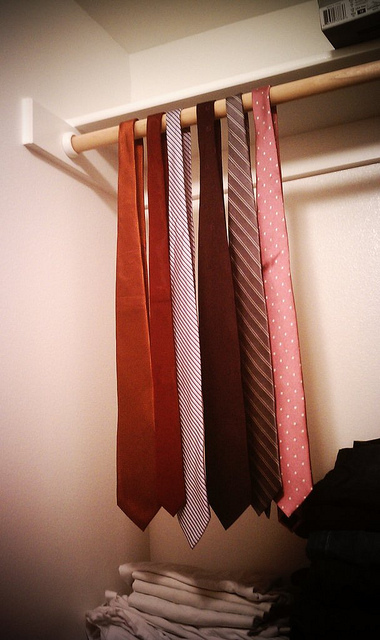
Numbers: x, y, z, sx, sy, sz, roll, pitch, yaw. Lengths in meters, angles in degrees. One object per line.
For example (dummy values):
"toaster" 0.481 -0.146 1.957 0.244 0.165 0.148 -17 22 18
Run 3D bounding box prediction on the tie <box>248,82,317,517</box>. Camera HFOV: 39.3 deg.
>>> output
"tie" 0.180 -0.061 1.079 0.060 0.868 0.128 -2 -2 -10

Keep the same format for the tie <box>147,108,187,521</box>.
"tie" -0.060 -0.041 1.169 0.085 0.915 0.074 -4 -4 5

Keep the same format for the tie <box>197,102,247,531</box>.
"tie" 0.054 -0.037 1.085 0.061 0.876 0.130 -1 -2 -21
